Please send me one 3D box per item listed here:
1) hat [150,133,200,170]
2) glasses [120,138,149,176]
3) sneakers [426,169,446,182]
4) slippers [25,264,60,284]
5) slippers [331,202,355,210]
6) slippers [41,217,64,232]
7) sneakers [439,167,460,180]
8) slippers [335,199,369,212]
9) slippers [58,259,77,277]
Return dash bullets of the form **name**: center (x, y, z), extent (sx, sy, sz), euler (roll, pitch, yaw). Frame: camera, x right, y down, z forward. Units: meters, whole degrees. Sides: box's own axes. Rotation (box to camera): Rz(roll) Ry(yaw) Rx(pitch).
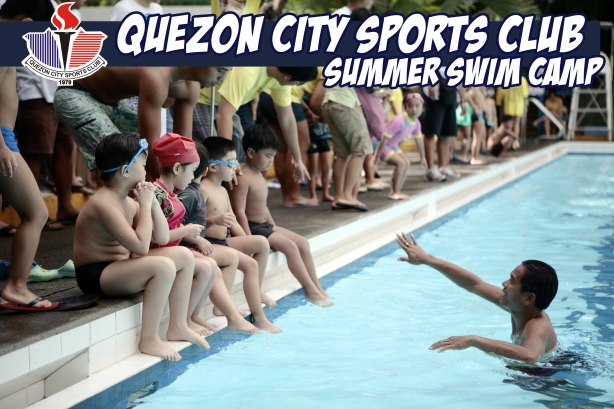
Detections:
- **hat**: center (-1.027, -0.435, 5.254), extent (0.336, 0.234, 0.247), euler (-7, 4, -16)
- **glasses**: center (-1.243, -0.352, 4.948), extent (0.108, 0.254, 0.148), euler (23, 15, -46)
- **sneakers**: center (2.062, -0.476, 10.690), extent (0.143, 0.165, 0.337), euler (-14, 14, -32)
- **slippers**: center (-2.087, 0.545, 5.309), extent (0.260, 0.120, 0.089), euler (-7, 9, -25)
- **slippers**: center (0.441, 0.009, 7.963), extent (0.263, 0.104, 0.100), euler (0, 5, -2)
- **slippers**: center (-2.602, 0.207, 6.840), extent (0.287, 0.128, 0.102), euler (-5, -1, 37)
- **sneakers**: center (2.305, -0.516, 11.016), extent (0.355, 0.172, 0.198), euler (22, 26, 40)
- **slippers**: center (0.528, 0.008, 7.974), extent (0.370, 0.112, 0.149), euler (4, 8, -9)
- **slippers**: center (-1.938, 0.516, 5.408), extent (0.118, 0.133, 0.192), euler (-4, 9, -22)
